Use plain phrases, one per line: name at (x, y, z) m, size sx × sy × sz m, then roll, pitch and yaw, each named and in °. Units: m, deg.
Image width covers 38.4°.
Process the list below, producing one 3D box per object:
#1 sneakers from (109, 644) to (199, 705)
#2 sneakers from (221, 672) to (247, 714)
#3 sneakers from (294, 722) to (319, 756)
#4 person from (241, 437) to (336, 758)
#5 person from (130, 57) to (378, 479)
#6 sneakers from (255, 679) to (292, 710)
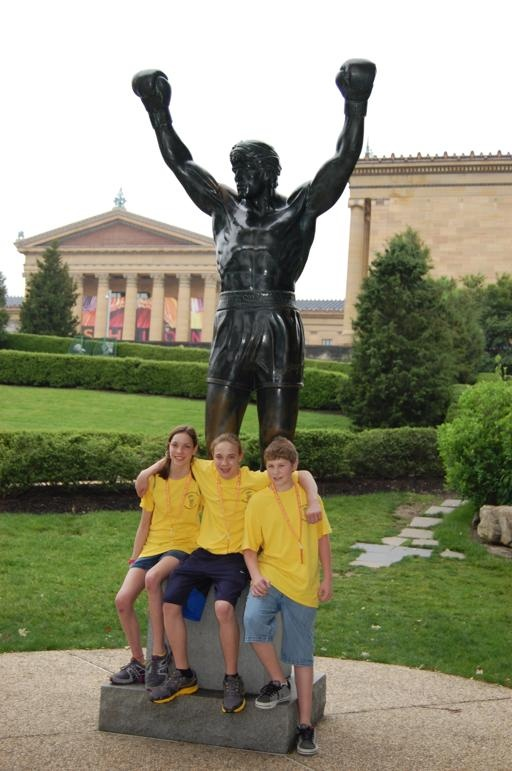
sneakers at (-0.408, 1.282, 3.317) m, size 0.249 × 0.110 × 0.305 m, roll 12°, pitch -7°, yaw -34°
sneakers at (-0.089, 1.308, 3.103) m, size 0.074 × 0.093 × 0.206 m, roll -1°, pitch -3°, yaw 0°
sneakers at (0.213, 1.514, 3.130) m, size 0.053 × 0.061 × 0.145 m, roll 0°, pitch -10°, yaw -4°
person at (0.133, 0.905, 3.266) m, size 0.387 × 1.337 × 0.305 m, roll 3°, pitch -7°, yaw -1°
person at (-0.019, -0.719, 3.916) m, size 1.312 × 2.135 × 0.439 m, roll 0°, pitch -7°, yaw 20°
sneakers at (0.079, 1.318, 3.145) m, size 0.077 × 0.088 × 0.205 m, roll -3°, pitch -10°, yaw 25°
